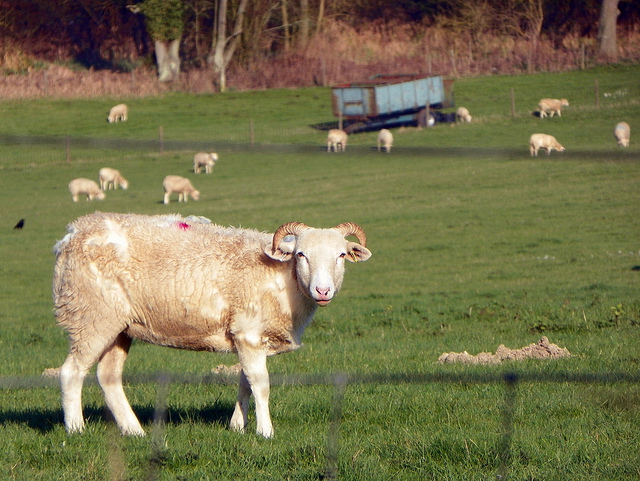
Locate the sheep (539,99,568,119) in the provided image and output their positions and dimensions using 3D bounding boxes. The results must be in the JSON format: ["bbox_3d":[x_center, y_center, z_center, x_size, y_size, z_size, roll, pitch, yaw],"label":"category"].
[{"bbox_3d":[16.427,-9.329,119.867,2.132,1.327,1.374,-11,13,-40],"label":"sheep"}]

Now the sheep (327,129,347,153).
[{"bbox_3d":[1.154,-6.750,114.499,1.252,1.424,1.686,-2,10,0],"label":"sheep"}]

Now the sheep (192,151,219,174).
[{"bbox_3d":[-7.498,-5.200,112.204,1.339,1.322,1.439,-1,10,10],"label":"sheep"}]

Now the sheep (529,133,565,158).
[{"bbox_3d":[14.841,-6.324,111.584,2.352,1.421,1.418,-10,12,-33],"label":"sheep"}]

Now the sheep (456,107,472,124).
[{"bbox_3d":[10.240,-8.856,119.891,0.681,0.666,1.323,-10,49,-43],"label":"sheep"}]

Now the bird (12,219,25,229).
[{"bbox_3d":[-18.444,-1.065,104.179,0.712,0.580,1.060,-5,11,-11],"label":"bird"}]
